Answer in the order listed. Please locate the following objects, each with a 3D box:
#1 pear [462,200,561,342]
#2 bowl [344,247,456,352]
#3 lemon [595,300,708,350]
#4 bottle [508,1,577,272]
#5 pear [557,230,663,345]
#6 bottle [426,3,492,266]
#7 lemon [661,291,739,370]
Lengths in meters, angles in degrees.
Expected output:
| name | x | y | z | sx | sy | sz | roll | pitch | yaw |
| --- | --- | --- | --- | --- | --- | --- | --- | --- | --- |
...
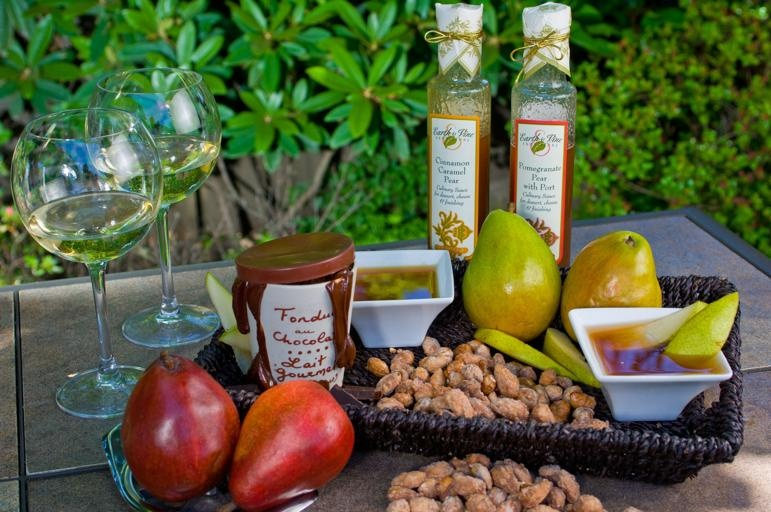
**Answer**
| name | x | y | z | sx | sy | sz | roll | pitch | yaw |
| --- | --- | --- | --- | --- | --- | --- | --- | --- | --- |
| pear | 0.201 | 0.021 | 1.209 | 0.158 | 0.218 | 0.170 | -12 | 24 | -18 |
| bowl | 0.026 | 0.066 | 1.215 | 0.160 | 0.110 | 0.142 | -2 | 35 | -2 |
| lemon | 0.395 | 0.103 | 1.113 | 0.105 | 0.075 | 0.131 | -19 | -5 | 32 |
| bottle | 0.249 | -0.205 | 1.232 | 0.095 | 0.373 | 0.113 | 0 | 14 | 7 |
| pear | 0.363 | 0.050 | 1.192 | 0.145 | 0.196 | 0.146 | 11 | 28 | 8 |
| bottle | 0.111 | -0.196 | 1.219 | 0.104 | 0.420 | 0.109 | -1 | 11 | 0 |
| lemon | 0.444 | 0.105 | 1.040 | 0.150 | 0.078 | 0.035 | -46 | 5 | -12 |
